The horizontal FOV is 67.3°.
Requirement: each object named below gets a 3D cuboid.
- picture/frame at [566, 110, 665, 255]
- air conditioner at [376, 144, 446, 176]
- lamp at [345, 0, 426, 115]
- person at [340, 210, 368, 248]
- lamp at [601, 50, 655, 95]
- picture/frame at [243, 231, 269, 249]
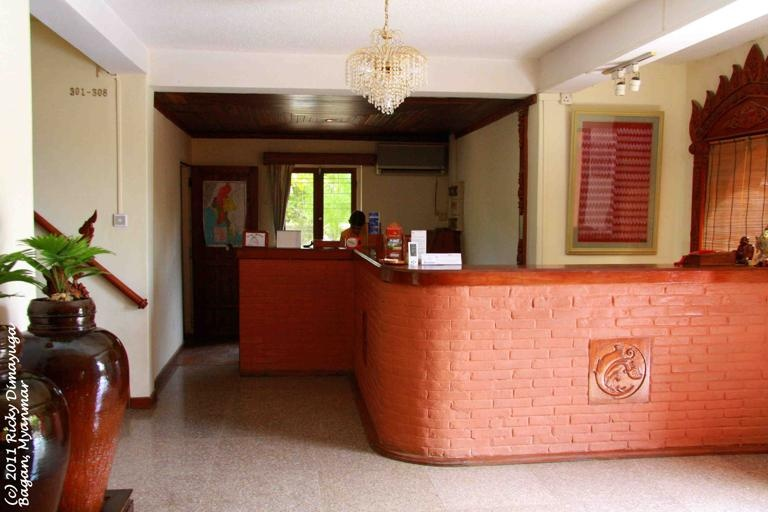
[{"bbox_3d":[2.547,-0.808,6.408,1.094,1.593,0.265,-2,13,-7],"label":"picture/frame"},{"bbox_3d":[0.469,-1.567,9.269,1.165,0.467,0.220,-1,12,-3],"label":"air conditioner"},{"bbox_3d":[0.011,-1.592,4.934,0.681,0.699,0.211,0,13,1],"label":"lamp"},{"bbox_3d":[-0.378,-0.331,7.249,0.338,0.451,0.774,-1,12,-3],"label":"person"},{"bbox_3d":[2.293,-1.700,5.430,0.519,0.327,0.347,8,15,36],"label":"lamp"},{"bbox_3d":[-1.529,-0.199,6.833,0.349,0.221,0.181,1,0,-3],"label":"picture/frame"}]
